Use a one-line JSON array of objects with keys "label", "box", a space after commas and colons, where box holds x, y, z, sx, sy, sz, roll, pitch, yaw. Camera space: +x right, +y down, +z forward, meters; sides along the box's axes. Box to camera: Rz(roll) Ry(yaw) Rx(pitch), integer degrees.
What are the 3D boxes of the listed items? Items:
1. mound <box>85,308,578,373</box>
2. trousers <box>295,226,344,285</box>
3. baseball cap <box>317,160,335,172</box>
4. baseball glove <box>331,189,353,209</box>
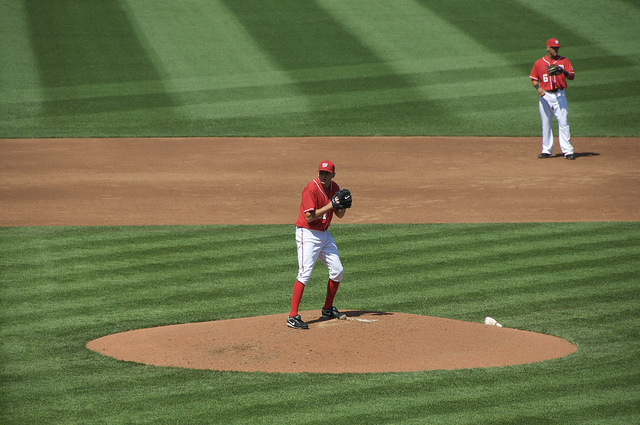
[{"label": "mound", "box": [-0.075, 2.484, 17.807, 9.225, 0.178, 2.999, -1, 10, 7]}, {"label": "trousers", "box": [-0.053, 0.800, 18.315, 0.858, 1.089, 0.455, -6, 14, -5]}, {"label": "baseball cap", "box": [0.120, -0.820, 18.186, 0.234, 0.209, 0.238, 0, 14, 19]}, {"label": "baseball glove", "box": [0.380, -0.220, 18.094, 0.366, 0.377, 0.301, -5, 13, -3]}]
